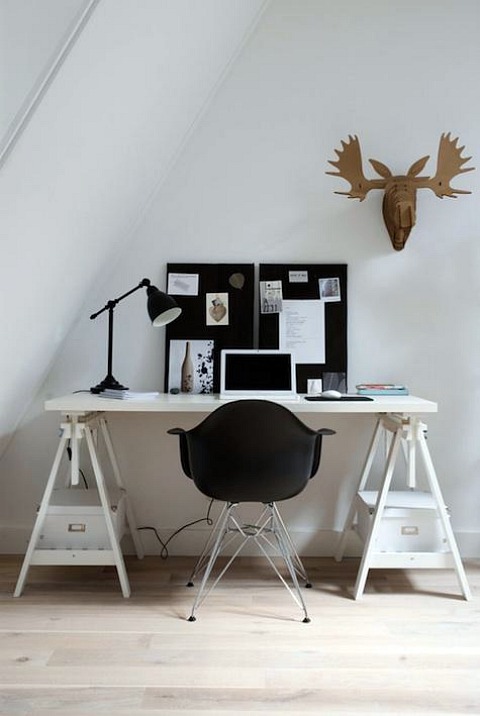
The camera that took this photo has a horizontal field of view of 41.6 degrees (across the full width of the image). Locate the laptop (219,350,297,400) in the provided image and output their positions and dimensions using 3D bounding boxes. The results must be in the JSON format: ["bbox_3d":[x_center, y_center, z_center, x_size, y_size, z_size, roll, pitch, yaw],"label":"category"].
[{"bbox_3d":[0.065,0.102,2.503,0.312,0.221,0.225,1,20,5],"label":"laptop"}]

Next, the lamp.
[{"bbox_3d":[-0.449,-0.091,2.631,0.344,0.473,0.488,-1,4,-14],"label":"lamp"}]

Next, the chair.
[{"bbox_3d":[0.030,0.502,2.265,0.557,0.756,0.570,2,-3,-24],"label":"chair"}]

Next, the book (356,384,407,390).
[{"bbox_3d":[0.588,0.123,2.634,0.194,0.023,0.058,0,3,-7],"label":"book"}]
